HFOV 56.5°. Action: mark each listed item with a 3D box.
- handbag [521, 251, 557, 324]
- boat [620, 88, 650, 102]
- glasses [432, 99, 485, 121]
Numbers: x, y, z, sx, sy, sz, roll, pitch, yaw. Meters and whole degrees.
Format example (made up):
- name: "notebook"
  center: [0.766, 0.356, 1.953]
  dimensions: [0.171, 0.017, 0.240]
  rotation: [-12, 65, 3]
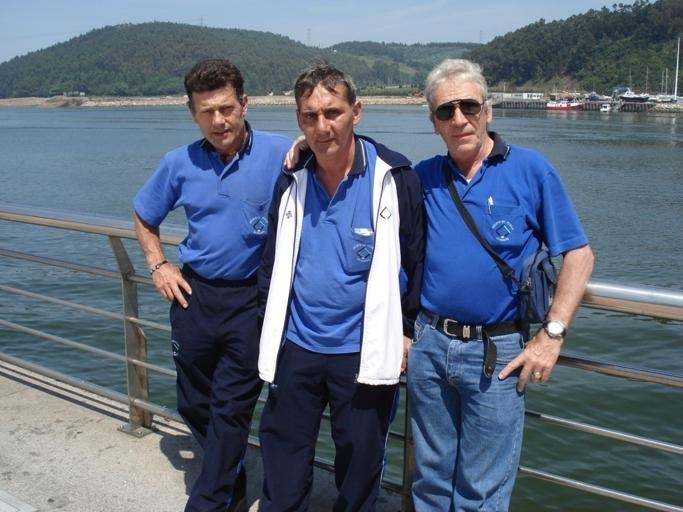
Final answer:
- name: "handbag"
  center: [0.832, 0.138, 2.683]
  dimensions: [0.157, 0.283, 0.211]
  rotation: [3, 23, 9]
- name: "boat"
  center: [51.327, -27.791, 111.280]
  dimensions: [3.288, 1.657, 7.101]
  rotation: [-3, 17, 9]
- name: "glasses"
  center: [0.522, -0.659, 2.859]
  dimensions: [0.212, 0.090, 0.065]
  rotation: [-2, 17, 12]
